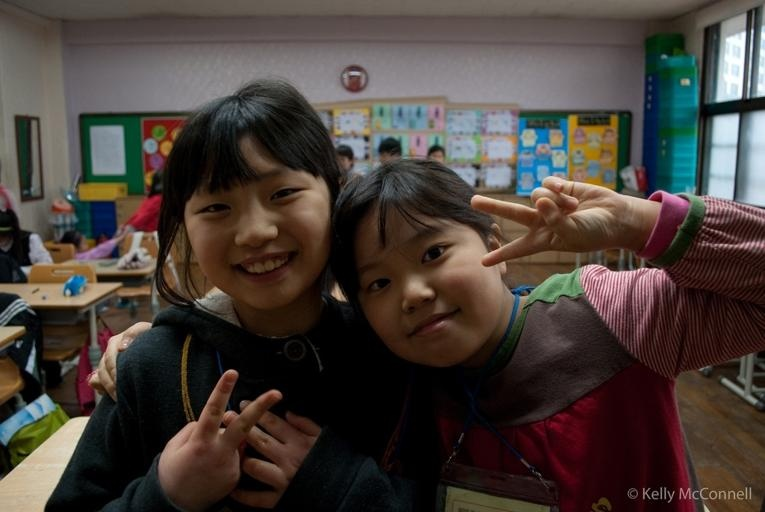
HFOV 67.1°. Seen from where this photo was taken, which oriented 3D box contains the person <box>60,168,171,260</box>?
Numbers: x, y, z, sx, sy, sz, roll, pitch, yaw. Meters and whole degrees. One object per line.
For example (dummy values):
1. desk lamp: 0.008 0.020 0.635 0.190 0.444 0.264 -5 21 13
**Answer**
1. person: -2.701 -0.407 5.672 0.898 0.650 0.502 1 19 5
